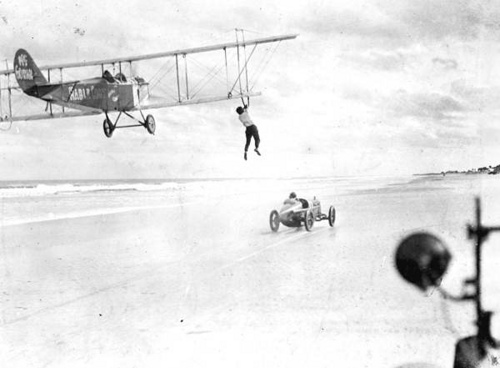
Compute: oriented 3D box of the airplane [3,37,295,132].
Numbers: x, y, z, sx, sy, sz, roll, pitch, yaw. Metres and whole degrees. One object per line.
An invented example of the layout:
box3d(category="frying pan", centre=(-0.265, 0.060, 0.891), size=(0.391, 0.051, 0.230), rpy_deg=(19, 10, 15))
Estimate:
box3d(category="airplane", centre=(-5.362, -4.373, 20.061), size=(14.728, 3.820, 6.869), rpy_deg=(0, 9, 20))
